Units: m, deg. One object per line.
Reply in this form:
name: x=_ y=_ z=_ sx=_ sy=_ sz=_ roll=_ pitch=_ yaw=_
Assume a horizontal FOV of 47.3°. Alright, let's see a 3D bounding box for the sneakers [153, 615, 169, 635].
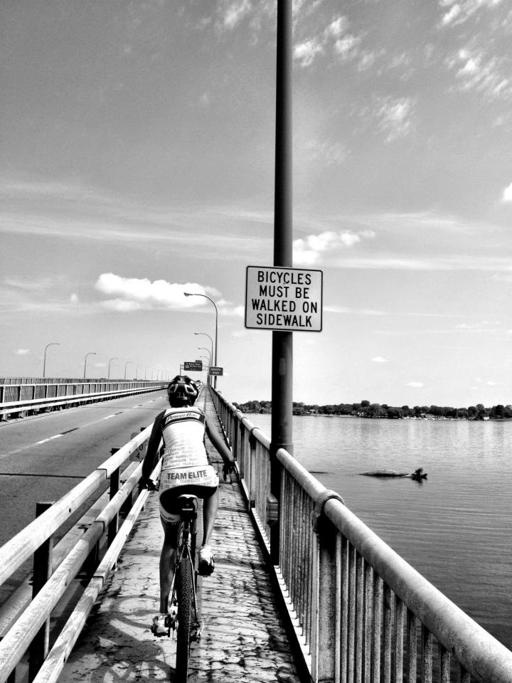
sneakers: x=-0.606 y=1.821 z=3.762 sx=0.102 sy=0.172 sz=0.113 roll=-1 pitch=-5 yaw=1
